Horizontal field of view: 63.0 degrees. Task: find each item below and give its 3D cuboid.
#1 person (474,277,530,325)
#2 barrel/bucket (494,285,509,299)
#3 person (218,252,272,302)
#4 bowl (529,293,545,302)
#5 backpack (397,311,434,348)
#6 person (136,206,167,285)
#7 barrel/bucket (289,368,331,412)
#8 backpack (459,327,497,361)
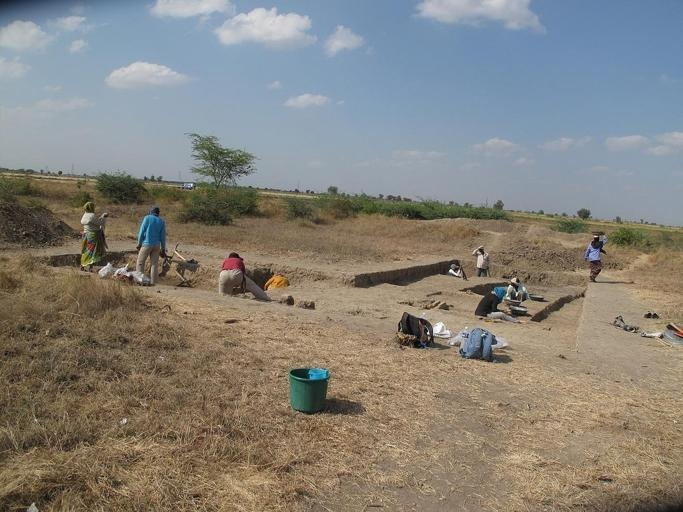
[{"bbox_3d":[3.674,1.122,12.821,1.242,1.016,0.649,4,5,-18],"label":"person"},{"bbox_3d":[3.766,0.851,13.192,0.453,0.300,0.531,0,-1,16],"label":"barrel/bucket"},{"bbox_3d":[-2.288,0.486,12.186,1.275,1.209,0.695,-4,4,7],"label":"person"},{"bbox_3d":[5.792,1.224,16.480,0.467,0.163,0.607,6,4,20],"label":"bowl"},{"bbox_3d":[1.276,1.270,9.518,0.643,0.520,0.483,5,5,2],"label":"backpack"},{"bbox_3d":[-4.235,-0.263,12.418,0.590,1.670,1.022,3,5,-20],"label":"person"},{"bbox_3d":[-0.369,1.641,6.858,0.509,0.403,0.498,2,1,0],"label":"barrel/bucket"},{"bbox_3d":[2.248,1.462,9.225,0.554,0.442,0.447,6,5,14],"label":"backpack"}]
